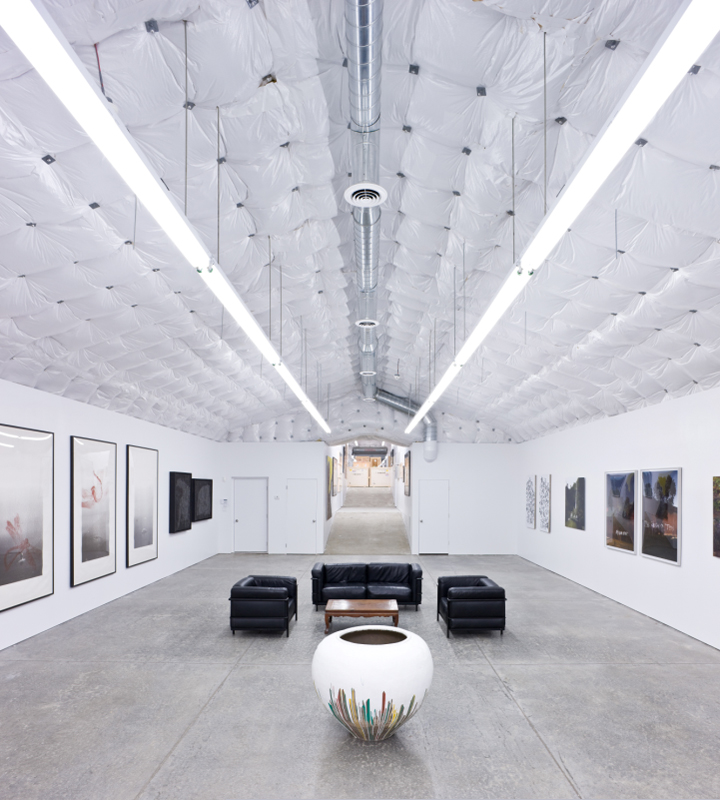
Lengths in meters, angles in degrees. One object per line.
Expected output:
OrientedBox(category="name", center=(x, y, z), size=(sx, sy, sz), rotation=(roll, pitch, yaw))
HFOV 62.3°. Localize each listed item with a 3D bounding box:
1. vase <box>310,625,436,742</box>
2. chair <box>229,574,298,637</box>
OrientedBox(category="vase", center=(0.076, 2.343, 4.999), size=(0.945, 0.859, 0.971), rotation=(1, -8, -39))
OrientedBox(category="chair", center=(-1.395, 3.036, 8.917), size=(0.828, 0.719, 1.434), rotation=(0, -10, 0))
